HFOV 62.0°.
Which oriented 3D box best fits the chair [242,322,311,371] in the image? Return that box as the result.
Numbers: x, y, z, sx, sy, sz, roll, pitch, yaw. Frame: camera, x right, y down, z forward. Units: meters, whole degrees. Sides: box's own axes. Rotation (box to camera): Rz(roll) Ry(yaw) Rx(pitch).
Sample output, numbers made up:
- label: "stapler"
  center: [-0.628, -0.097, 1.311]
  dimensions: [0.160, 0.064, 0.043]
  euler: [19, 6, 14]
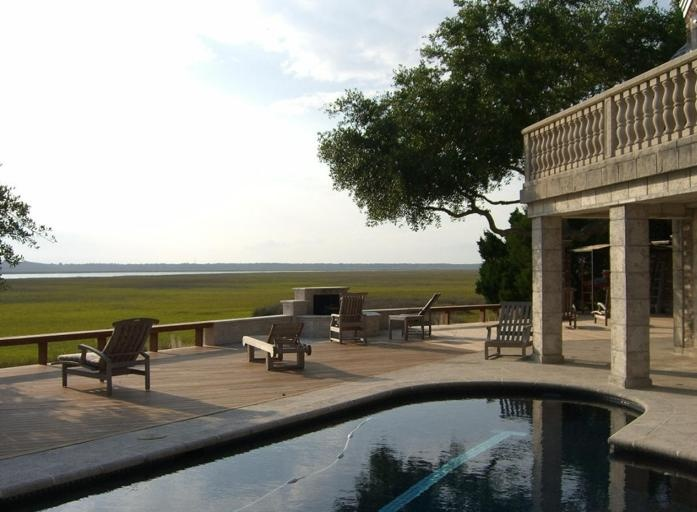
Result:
- label: "chair"
  center: [-1.885, 2.264, 14.850]
  dimensions: [1.022, 1.097, 2.362]
  euler: [1, -2, -27]

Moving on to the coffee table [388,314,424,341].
- label: "coffee table"
  center: [1.988, 2.458, 19.553]
  dimensions: [1.000, 0.766, 0.966]
  euler: [-2, 3, -37]

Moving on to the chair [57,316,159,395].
- label: "chair"
  center: [-4.947, 2.072, 12.130]
  dimensions: [1.817, 1.654, 1.260]
  euler: [4, 8, 31]
